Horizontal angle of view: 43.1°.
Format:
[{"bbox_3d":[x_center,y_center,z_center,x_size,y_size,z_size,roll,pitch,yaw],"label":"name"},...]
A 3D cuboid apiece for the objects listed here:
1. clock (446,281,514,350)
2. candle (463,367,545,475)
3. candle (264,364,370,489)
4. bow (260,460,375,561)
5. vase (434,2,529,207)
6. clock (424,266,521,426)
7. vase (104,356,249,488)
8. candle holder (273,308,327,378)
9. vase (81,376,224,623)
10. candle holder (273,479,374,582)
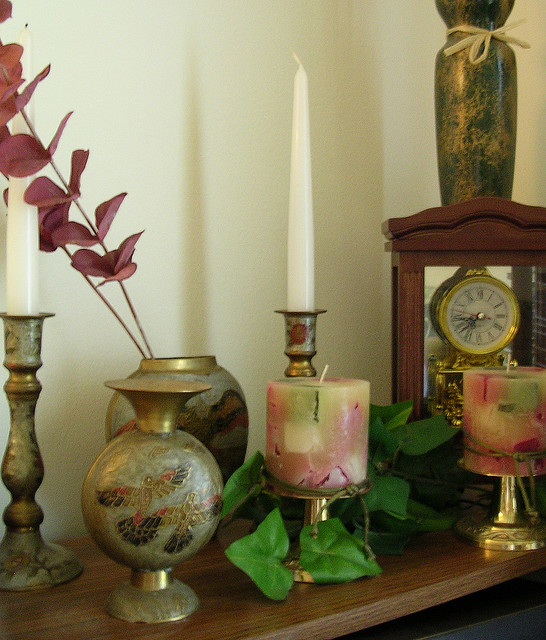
[{"bbox_3d":[0.231,-0.005,0.767,0.014,0.080,0.096,-1,2,-36],"label":"clock"},{"bbox_3d":[0.210,0.087,0.633,0.075,0.090,0.090,0,1,16],"label":"candle"},{"bbox_3d":[0.037,0.091,0.604,0.105,0.087,0.106,-2,13,-15],"label":"candle"},{"bbox_3d":[0.037,0.158,0.591,0.091,0.075,0.101,-1,6,2],"label":"bow"},{"bbox_3d":[0.229,-0.250,0.770,0.103,0.236,0.113,1,7,16],"label":"vase"},{"bbox_3d":[0.219,0.033,0.783,0.118,0.170,0.062,0,2,-25],"label":"clock"},{"bbox_3d":[-0.059,0.091,0.658,0.156,0.130,0.127,0,-5,-4],"label":"vase"},{"bbox_3d":[0.027,0.022,0.682,0.081,0.071,0.066,1,-3,-7],"label":"candle holder"},{"bbox_3d":[-0.077,0.131,0.521,0.127,0.153,0.124,4,-8,-37],"label":"vase"},{"bbox_3d":[0.043,0.170,0.577,0.093,0.062,0.080,1,-3,1],"label":"candle holder"}]
